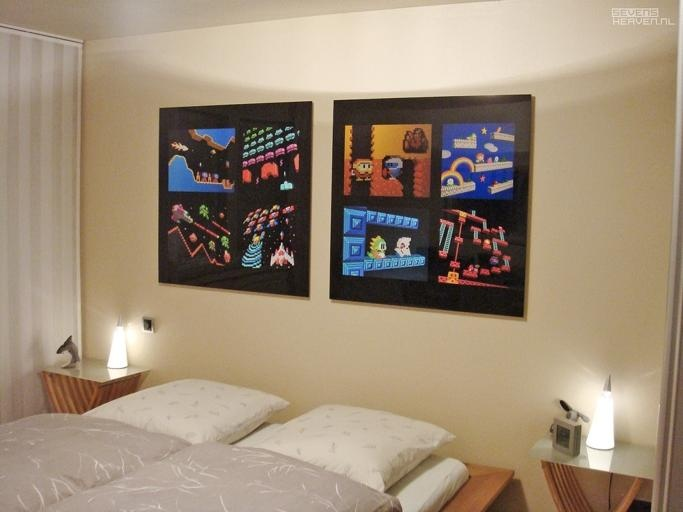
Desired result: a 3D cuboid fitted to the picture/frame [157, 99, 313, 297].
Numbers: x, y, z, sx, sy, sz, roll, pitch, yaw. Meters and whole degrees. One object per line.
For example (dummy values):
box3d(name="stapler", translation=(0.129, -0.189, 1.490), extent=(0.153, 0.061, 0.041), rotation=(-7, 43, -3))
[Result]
box3d(name="picture/frame", translation=(-0.658, -0.404, 3.650), extent=(1.257, 1.304, 0.024), rotation=(3, 5, 27))

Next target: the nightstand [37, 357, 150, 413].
box3d(name="nightstand", translation=(-1.759, 0.855, 3.884), extent=(0.443, 0.452, 0.463), rotation=(8, 7, 36))

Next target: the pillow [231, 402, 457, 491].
box3d(name="pillow", translation=(0.015, 0.942, 2.819), extent=(0.529, 0.131, 0.544), rotation=(2, -1, 33))

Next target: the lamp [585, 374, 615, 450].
box3d(name="lamp", translation=(1.375, 0.814, 2.863), extent=(0.115, 0.344, 0.204), rotation=(14, 18, 42))

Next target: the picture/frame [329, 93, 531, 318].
box3d(name="picture/frame", translation=(0.563, -0.318, 3.212), extent=(1.271, 1.369, 0.058), rotation=(2, 4, 21))
